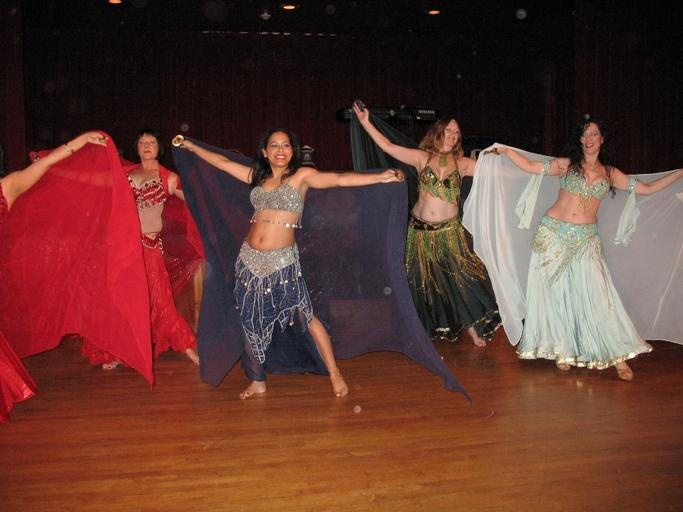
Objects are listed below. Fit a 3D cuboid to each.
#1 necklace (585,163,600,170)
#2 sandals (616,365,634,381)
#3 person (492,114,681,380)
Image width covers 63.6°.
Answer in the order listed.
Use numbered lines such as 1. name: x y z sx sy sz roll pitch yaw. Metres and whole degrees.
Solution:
1. necklace: 1.772 -0.634 3.895 0.129 0.051 0.047 -5 12 -23
2. sandals: 1.944 0.785 3.782 0.111 0.088 0.211 6 13 30
3. person: 1.653 -0.082 3.893 0.872 1.728 0.540 3 11 16
